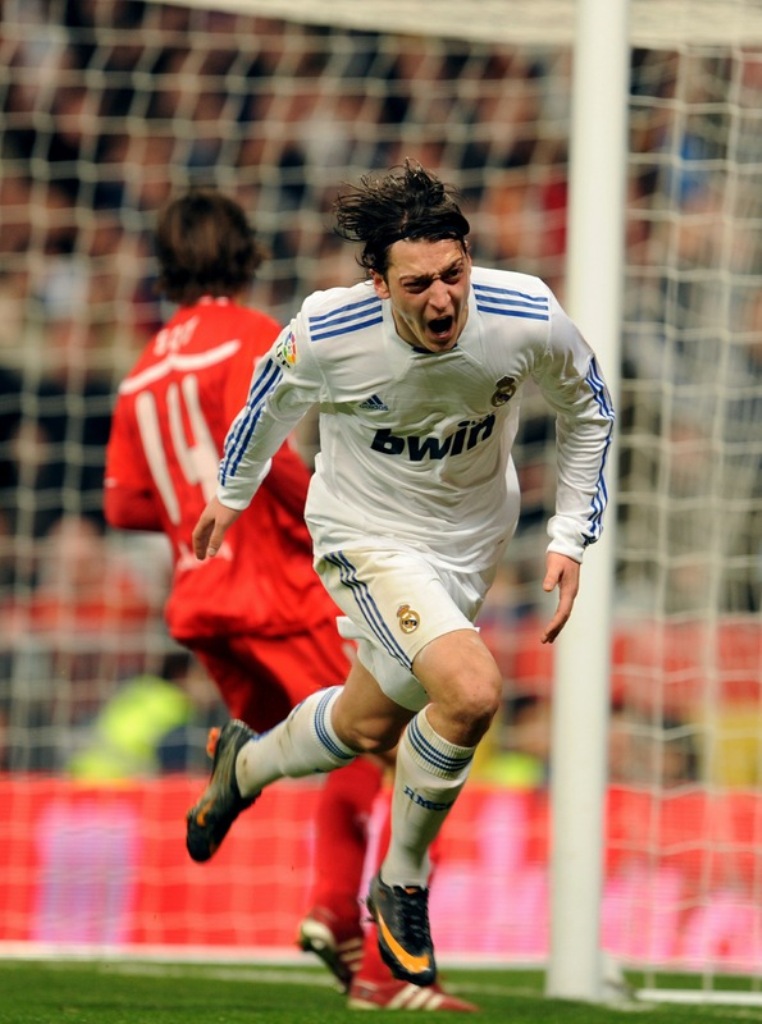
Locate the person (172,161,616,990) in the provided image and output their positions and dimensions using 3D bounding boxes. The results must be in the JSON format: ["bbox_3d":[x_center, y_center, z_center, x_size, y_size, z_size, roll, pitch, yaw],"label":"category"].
[{"bbox_3d":[0.029,0.091,2.495,0.789,1.464,0.715,-2,16,14],"label":"person"}]

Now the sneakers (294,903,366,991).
[{"bbox_3d":[-0.125,0.982,2.997,0.096,0.239,0.114,-35,21,-16],"label":"sneakers"}]

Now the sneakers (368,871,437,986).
[{"bbox_3d":[0.045,0.782,2.470,0.089,0.103,0.230,13,31,-33],"label":"sneakers"}]
